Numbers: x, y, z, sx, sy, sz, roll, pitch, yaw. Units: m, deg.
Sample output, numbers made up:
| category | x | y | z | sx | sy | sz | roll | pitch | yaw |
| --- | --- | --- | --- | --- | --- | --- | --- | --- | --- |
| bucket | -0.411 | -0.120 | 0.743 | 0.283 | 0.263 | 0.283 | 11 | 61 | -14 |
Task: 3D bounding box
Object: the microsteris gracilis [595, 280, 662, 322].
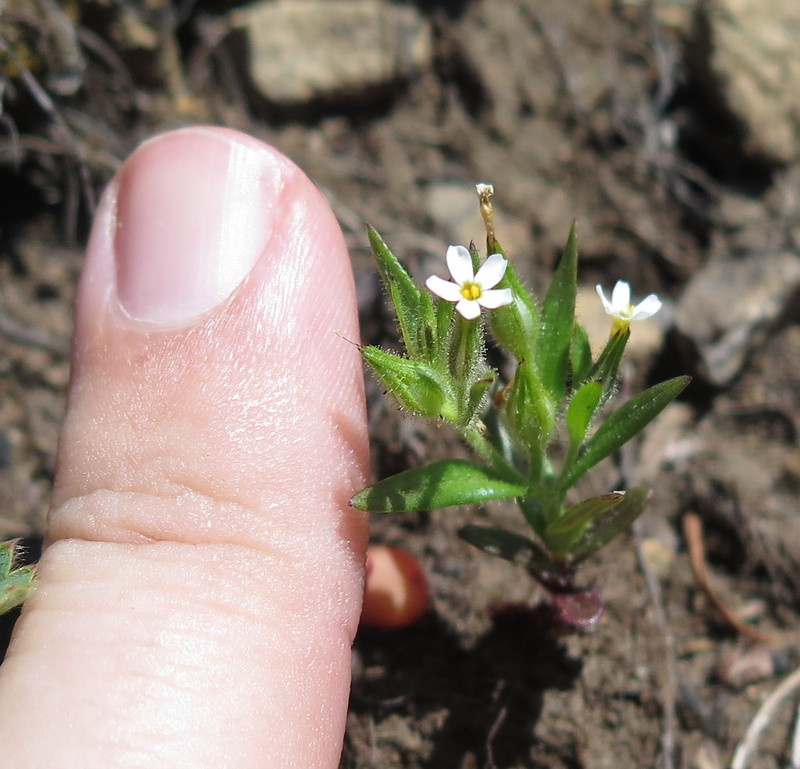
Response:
| category | x | y | z | sx | sy | sz | roll | pitch | yaw |
| --- | --- | --- | --- | --- | --- | --- | --- | --- | --- |
| microsteris gracilis | 0.898 | -0.333 | 3.694 | 0.189 | 0.108 | 0.201 | 16 | 30 | 26 |
